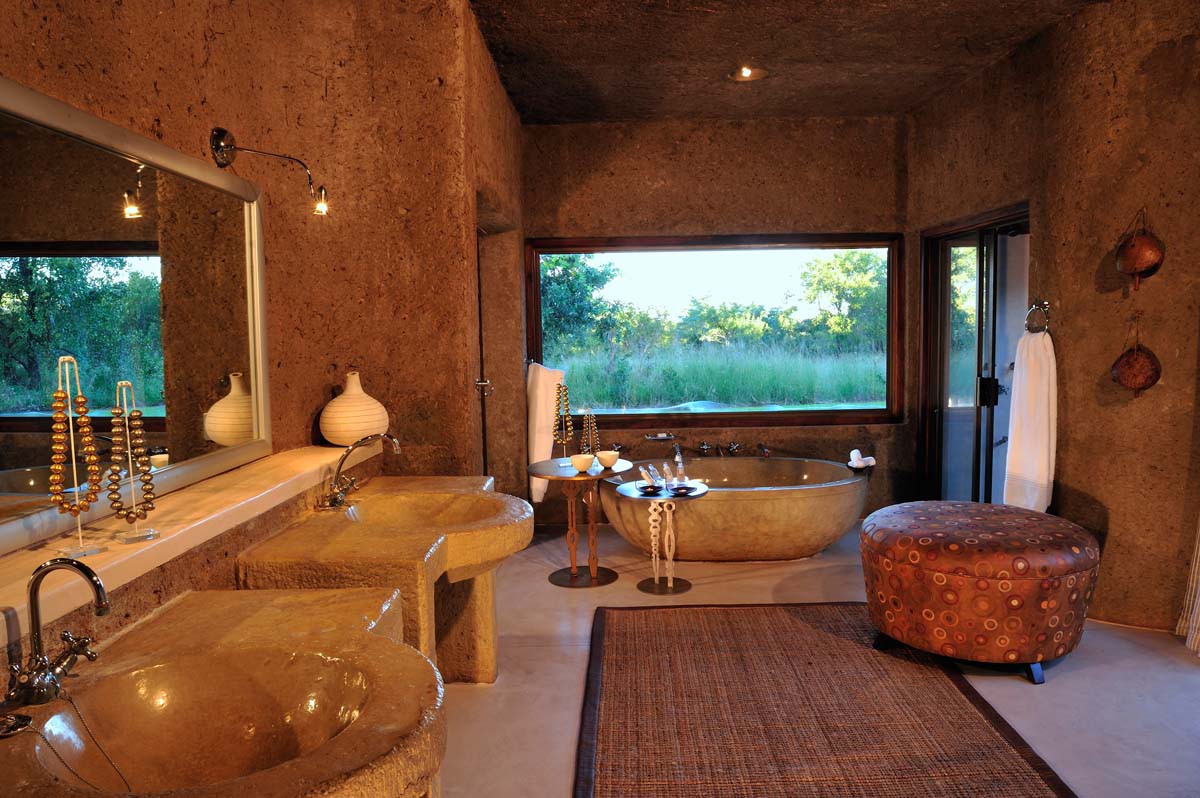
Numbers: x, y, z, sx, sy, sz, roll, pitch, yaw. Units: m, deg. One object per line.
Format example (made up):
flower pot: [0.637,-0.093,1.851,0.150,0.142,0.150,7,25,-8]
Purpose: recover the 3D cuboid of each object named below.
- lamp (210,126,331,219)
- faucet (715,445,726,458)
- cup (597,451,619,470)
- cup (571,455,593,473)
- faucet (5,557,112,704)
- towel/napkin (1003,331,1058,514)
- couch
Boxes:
lamp: [-1.553,-1.063,3.653,0.531,0.311,0.204,5,12,19]
faucet: [0.961,0.413,6.422,0.076,0.074,0.048,0,-3,-4]
cup: [0.063,0.389,5.276,0.094,0.121,0.184,6,12,32]
cup: [-0.112,0.407,5.107,0.107,0.066,0.107,-2,-3,0]
faucet: [-1.394,0.555,2.034,0.222,0.363,0.415,-9,13,-36]
towel/napkin: [2.581,0.121,4.785,0.236,1.038,0.266,-10,14,-36]
couch: [1.792,0.900,3.848,0.910,0.535,0.894,1,-1,-41]
